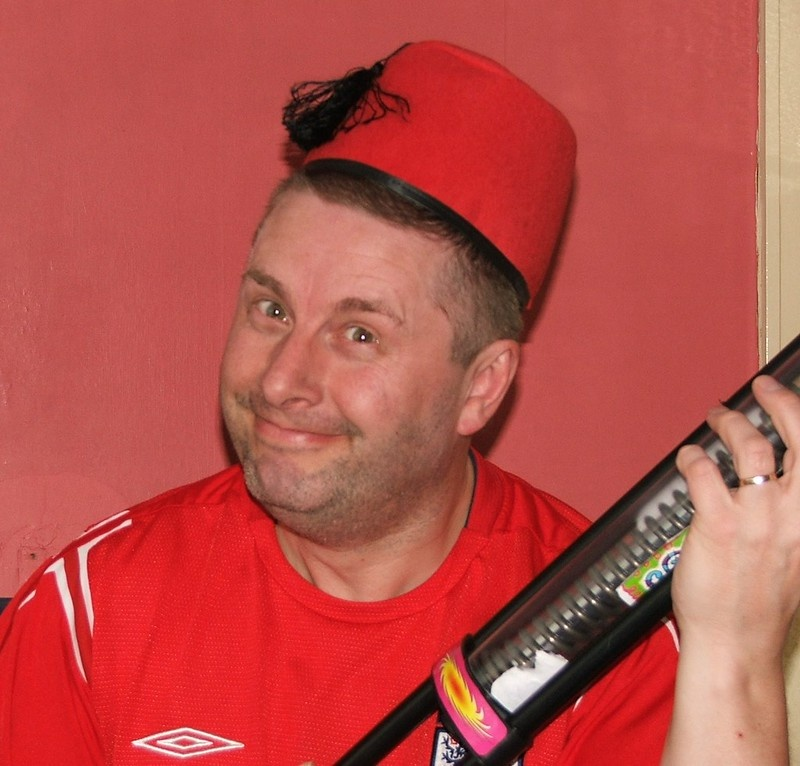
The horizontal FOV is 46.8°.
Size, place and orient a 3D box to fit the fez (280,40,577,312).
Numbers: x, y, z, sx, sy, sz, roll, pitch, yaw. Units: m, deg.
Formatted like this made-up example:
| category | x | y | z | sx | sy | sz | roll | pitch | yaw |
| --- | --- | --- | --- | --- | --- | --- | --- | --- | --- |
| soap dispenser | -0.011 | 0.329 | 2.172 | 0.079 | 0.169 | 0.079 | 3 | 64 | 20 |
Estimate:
| category | x | y | z | sx | sy | sz | roll | pitch | yaw |
| --- | --- | --- | --- | --- | --- | --- | --- | --- | --- |
| fez | 0.059 | -0.274 | 1.172 | 0.340 | 0.244 | 0.314 | 23 | -4 | -5 |
